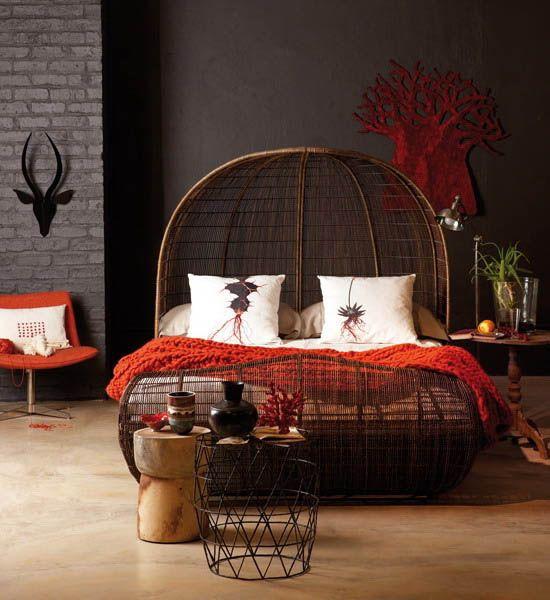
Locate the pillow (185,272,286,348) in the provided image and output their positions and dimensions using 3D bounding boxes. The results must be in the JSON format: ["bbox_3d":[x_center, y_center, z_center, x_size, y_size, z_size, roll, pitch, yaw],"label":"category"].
[{"bbox_3d":[-0.215,0.064,3.630,0.506,0.362,0.147,-1,-40,3],"label":"pillow"}]

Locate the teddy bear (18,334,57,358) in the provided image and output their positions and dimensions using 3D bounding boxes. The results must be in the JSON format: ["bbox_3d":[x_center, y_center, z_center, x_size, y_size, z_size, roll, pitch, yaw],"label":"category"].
[{"bbox_3d":[-1.377,0.270,3.918,0.200,0.108,0.208,-1,4,-17],"label":"teddy bear"}]

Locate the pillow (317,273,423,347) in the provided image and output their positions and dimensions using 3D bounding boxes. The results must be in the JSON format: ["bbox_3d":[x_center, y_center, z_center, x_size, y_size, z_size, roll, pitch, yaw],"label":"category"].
[{"bbox_3d":[0.507,0.066,3.675,0.504,0.305,0.138,-1,-33,9],"label":"pillow"}]

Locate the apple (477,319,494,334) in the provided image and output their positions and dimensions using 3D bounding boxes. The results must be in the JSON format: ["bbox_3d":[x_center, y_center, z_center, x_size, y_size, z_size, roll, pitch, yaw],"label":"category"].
[{"bbox_3d":[1.106,0.141,3.549,0.082,0.047,0.096,-1,8,13],"label":"apple"}]

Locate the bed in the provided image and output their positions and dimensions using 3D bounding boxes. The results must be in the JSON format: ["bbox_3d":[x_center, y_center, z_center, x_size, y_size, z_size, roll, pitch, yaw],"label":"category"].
[{"bbox_3d":[0.137,-0.061,3.489,1.745,1.220,2.139,0,6,3],"label":"bed"}]

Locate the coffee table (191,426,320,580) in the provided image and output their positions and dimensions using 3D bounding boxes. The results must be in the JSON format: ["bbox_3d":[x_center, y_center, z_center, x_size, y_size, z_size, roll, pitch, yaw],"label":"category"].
[{"bbox_3d":[-0.060,0.669,2.282,0.488,0.384,0.416,0,4,-3],"label":"coffee table"}]

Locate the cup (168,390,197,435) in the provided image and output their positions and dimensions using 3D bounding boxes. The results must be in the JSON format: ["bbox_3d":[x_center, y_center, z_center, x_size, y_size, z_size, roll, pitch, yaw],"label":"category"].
[{"bbox_3d":[-0.305,0.373,2.203,0.092,0.134,0.078,-2,5,-14],"label":"cup"}]

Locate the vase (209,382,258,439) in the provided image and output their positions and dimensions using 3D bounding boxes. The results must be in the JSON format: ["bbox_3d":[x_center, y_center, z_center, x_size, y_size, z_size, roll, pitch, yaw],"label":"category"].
[{"bbox_3d":[-0.130,0.328,2.063,0.202,0.185,0.178,0,-1,-13],"label":"vase"}]
